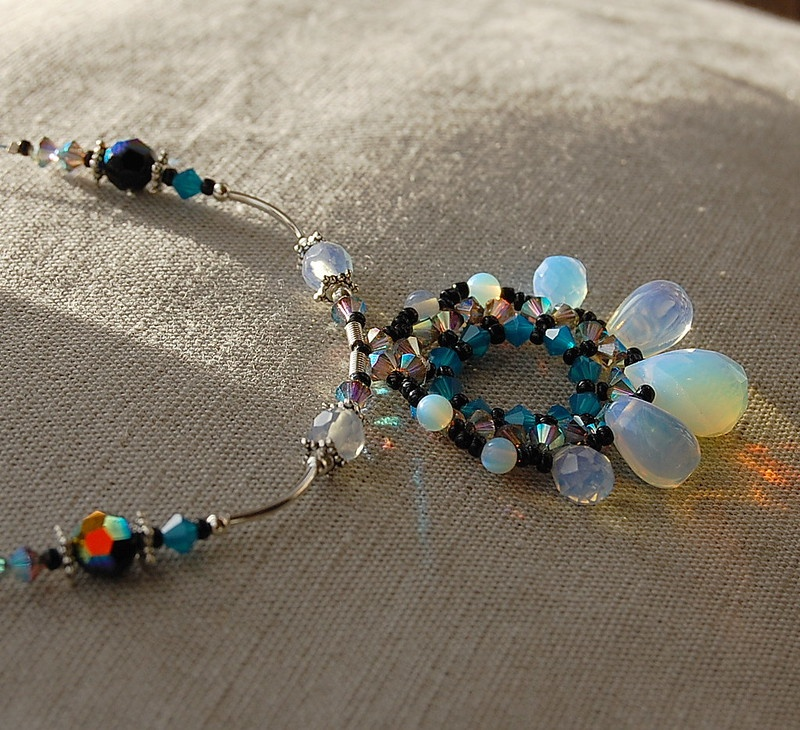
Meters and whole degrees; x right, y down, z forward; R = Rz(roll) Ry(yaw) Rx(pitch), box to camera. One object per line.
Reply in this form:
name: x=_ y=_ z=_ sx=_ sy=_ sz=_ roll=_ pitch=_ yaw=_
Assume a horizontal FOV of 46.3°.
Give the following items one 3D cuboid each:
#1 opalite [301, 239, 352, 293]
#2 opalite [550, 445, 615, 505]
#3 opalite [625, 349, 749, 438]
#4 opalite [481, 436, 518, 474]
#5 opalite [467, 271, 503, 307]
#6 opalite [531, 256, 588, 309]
opalite: x=-0.098 y=-0.126 z=1.210 sx=0.069 sy=0.042 sz=0.063 roll=0 pitch=94 yaw=1
opalite: x=0.213 y=0.128 z=1.094 sx=0.068 sy=0.042 sz=0.069 roll=-1 pitch=67 yaw=7
opalite: x=0.344 y=0.024 z=1.148 sx=0.196 sy=0.055 sz=0.115 roll=0 pitch=60 yaw=-26
opalite: x=0.117 y=0.105 z=1.095 sx=0.048 sy=0.044 sz=0.043 roll=-4 pitch=95 yaw=-33
opalite: x=0.111 y=-0.098 z=1.236 sx=0.052 sy=0.025 sz=0.040 roll=4 pitch=84 yaw=5
opalite: x=0.207 y=-0.111 z=1.235 sx=0.078 sy=0.075 sz=0.065 roll=-6 pitch=100 yaw=2
